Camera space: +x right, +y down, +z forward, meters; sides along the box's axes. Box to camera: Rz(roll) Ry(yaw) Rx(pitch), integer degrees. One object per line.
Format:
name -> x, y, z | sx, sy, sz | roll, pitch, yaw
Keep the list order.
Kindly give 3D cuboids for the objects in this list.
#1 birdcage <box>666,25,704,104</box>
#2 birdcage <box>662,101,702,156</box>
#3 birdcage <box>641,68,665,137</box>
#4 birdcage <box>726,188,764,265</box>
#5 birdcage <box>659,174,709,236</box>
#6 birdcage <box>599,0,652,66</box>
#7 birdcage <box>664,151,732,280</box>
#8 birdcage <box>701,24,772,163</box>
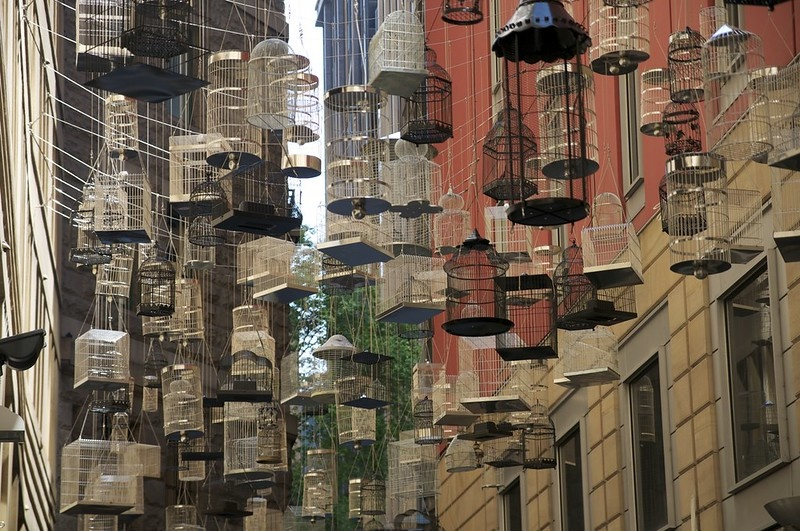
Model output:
birdcage -> 4.494, -3.051, 40.397 | 0.564, 1.212, 0.590 | -4, -10, 6
birdcage -> 4.530, -2.221, 40.983 | 0.528, 0.872, 0.533 | -1, -1, 17
birdcage -> 4.090, -2.496, 41.338 | 0.489, 1.128, 1.071 | -4, -10, 6
birdcage -> 5.434, -0.594, 40.428 | 0.547, 1.268, 1.109 | -5, -10, 8
birdcage -> 4.527, -0.817, 40.081 | 0.781, 0.847, 0.785 | 2, -8, 17
birdcage -> 3.484, -3.518, 40.023 | 0.821, 1.202, 1.052 | -4, -10, 5
birdcage -> 4.566, -0.681, 39.720 | 0.992, 1.929, 0.882 | -4, -10, 6
birdcage -> 5.169, -2.732, 39.282 | 0.964, 2.045, 0.906 | -2, -12, -6
